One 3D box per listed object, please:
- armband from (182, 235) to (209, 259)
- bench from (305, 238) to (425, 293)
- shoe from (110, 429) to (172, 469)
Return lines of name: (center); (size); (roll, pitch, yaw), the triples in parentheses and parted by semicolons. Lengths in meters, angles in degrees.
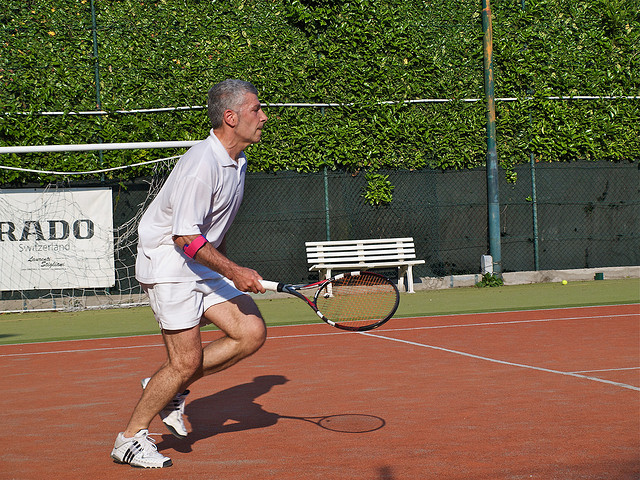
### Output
armband: (-1.182, 0.061, 8.254); (0.223, 0.145, 0.223); (-33, 1, 31)
bench: (0.839, 0.480, 16.732); (2.919, 0.920, 1.196); (1, 7, -31)
shoe: (-1.725, 2.000, 8.346); (0.580, 0.384, 0.136); (-1, 12, 7)
